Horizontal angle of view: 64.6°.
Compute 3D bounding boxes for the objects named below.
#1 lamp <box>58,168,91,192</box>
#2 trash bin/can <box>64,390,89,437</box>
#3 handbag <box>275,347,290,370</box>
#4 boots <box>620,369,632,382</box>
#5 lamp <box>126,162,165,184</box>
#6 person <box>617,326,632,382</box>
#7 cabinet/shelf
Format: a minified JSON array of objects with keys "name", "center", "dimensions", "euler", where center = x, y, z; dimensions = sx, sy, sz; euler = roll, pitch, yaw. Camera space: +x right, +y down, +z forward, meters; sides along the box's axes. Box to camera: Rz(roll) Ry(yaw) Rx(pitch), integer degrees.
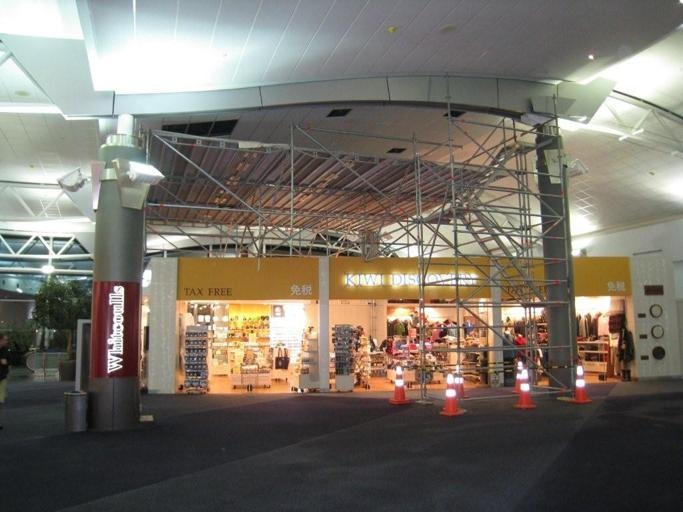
[{"name":"lamp","center":[-7.983,-2.276,16.221],"dimensions":[0.855,0.226,0.899],"euler":[-27,10,7]},{"name":"trash bin/can","center":[-5.181,3.067,10.580],"dimensions":[0.390,0.759,0.260],"euler":[2,-9,-21]},{"name":"handbag","center":[-1.906,3.280,17.215],"dimensions":[0.420,0.734,0.529],"euler":[1,-9,-16]},{"name":"boots","center":[8.934,3.771,16.975],"dimensions":[0.375,0.383,0.356],"euler":[-1,-7,0]},{"name":"lamp","center":[-4.099,-1.728,11.322],"dimensions":[0.456,0.249,0.581],"euler":[41,21,29]},{"name":"person","center":[8.969,3.117,17.003],"dimensions":[0.430,1.558,0.417],"euler":[-3,-9,5]},{"name":"cabinet/shelf","center":[-0.529,2.827,17.713],"dimensions":[8.724,2.818,4.699],"euler":[-1,-8,-2]}]
